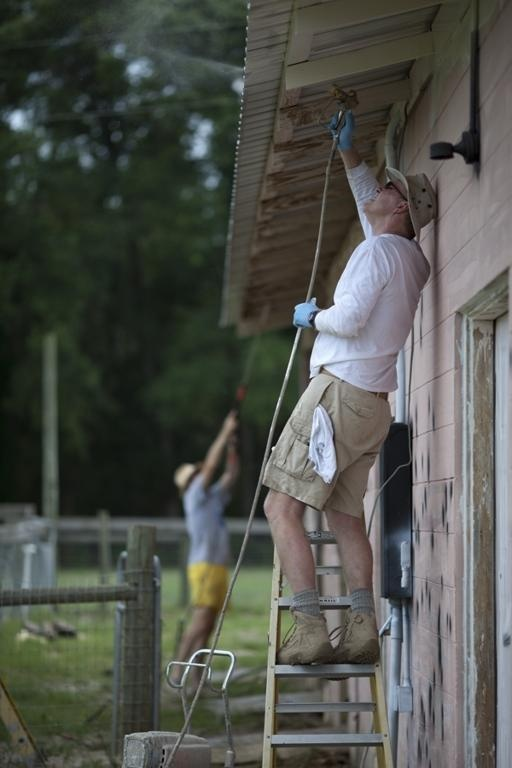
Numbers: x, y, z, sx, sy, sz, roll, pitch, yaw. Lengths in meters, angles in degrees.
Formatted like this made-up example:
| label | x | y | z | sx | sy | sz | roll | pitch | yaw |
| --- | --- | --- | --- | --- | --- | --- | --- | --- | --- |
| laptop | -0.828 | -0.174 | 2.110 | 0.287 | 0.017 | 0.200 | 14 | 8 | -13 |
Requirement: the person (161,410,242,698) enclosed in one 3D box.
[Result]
| label | x | y | z | sx | sy | sz | roll | pitch | yaw |
| --- | --- | --- | --- | --- | --- | --- | --- | --- | --- |
| person | -0.464 | 1.421 | 12.436 | 0.448 | 2.619 | 0.634 | 2 | -35 | 7 |

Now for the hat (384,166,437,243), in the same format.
| label | x | y | z | sx | sy | sz | roll | pitch | yaw |
| --- | --- | --- | --- | --- | --- | --- | --- | --- | --- |
| hat | 0.640 | -0.750 | 5.884 | 0.126 | 0.284 | 0.200 | -15 | 23 | -13 |

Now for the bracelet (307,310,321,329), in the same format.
| label | x | y | z | sx | sy | sz | roll | pitch | yaw |
| --- | --- | --- | --- | --- | --- | --- | --- | --- | --- |
| bracelet | 0.235 | -0.253 | 5.811 | 0.031 | 0.067 | 0.050 | 5 | 34 | 0 |

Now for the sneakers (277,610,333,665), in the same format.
| label | x | y | z | sx | sy | sz | roll | pitch | yaw |
| --- | --- | --- | --- | --- | --- | --- | --- | --- | --- |
| sneakers | 0.197 | 0.968 | 5.554 | 0.241 | 0.206 | 0.208 | 0 | -4 | 27 |

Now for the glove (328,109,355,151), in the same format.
| label | x | y | z | sx | sy | sz | roll | pitch | yaw |
| --- | --- | --- | --- | --- | --- | --- | --- | --- | --- |
| glove | 0.374 | -1.074 | 6.154 | 0.047 | 0.173 | 0.115 | 4 | 1 | 19 |

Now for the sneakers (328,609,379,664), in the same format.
| label | x | y | z | sx | sy | sz | roll | pitch | yaw |
| --- | --- | --- | --- | --- | --- | --- | --- | --- | --- |
| sneakers | 0.369 | 0.996 | 5.628 | 0.099 | 0.216 | 0.277 | 6 | -17 | -13 |

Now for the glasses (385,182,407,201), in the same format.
| label | x | y | z | sx | sy | sz | roll | pitch | yaw |
| --- | --- | --- | --- | --- | --- | --- | --- | --- | --- |
| glasses | 0.575 | -0.788 | 5.921 | 0.081 | 0.025 | 0.080 | 41 | -2 | -9 |
